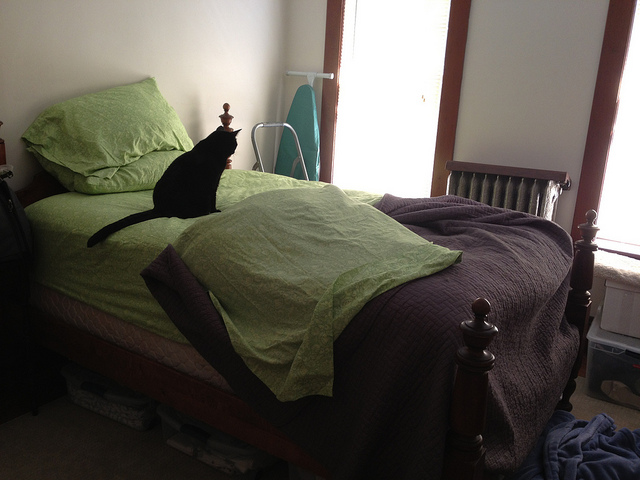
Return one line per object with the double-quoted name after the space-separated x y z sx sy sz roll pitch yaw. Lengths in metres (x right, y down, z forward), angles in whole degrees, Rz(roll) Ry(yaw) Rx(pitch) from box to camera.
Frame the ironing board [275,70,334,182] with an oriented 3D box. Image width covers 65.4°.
-0.163 -0.926 4.237 0.442 1.007 0.085 16 39 7 "ironing board"
